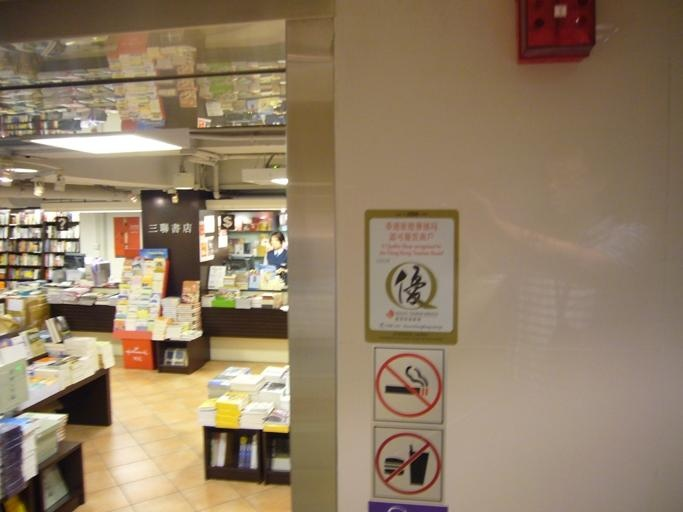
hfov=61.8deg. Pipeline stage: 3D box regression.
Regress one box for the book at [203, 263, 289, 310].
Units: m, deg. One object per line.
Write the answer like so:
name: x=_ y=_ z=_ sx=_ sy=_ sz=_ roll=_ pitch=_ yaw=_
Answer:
book: x=-1.436 y=0.454 z=8.481 sx=1.215 sy=0.538 sz=0.937 roll=-1 pitch=7 yaw=-3

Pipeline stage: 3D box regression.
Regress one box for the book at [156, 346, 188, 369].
book: x=-2.333 y=1.416 z=7.898 sx=0.458 sy=0.320 sz=0.251 roll=1 pitch=-4 yaw=3

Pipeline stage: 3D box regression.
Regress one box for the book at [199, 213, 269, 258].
book: x=-1.805 y=-0.347 z=9.470 sx=0.753 sy=0.652 sz=0.245 roll=0 pitch=5 yaw=-10

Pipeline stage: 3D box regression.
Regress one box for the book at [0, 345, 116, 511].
book: x=-2.761 y=1.558 z=5.618 sx=0.742 sy=0.858 sz=1.357 roll=3 pitch=4 yaw=11
